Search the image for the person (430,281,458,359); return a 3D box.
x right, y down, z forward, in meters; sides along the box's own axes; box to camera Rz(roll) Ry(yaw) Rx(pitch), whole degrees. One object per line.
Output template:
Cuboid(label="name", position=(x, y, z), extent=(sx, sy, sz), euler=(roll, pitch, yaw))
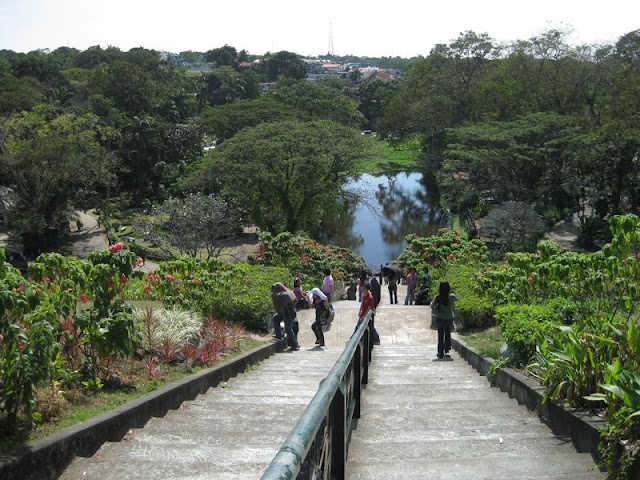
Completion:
Cuboid(label="person", position=(2.445, 1.617, 11.983), extent=(0.442, 1.553, 0.555), euler=(1, 3, 14))
